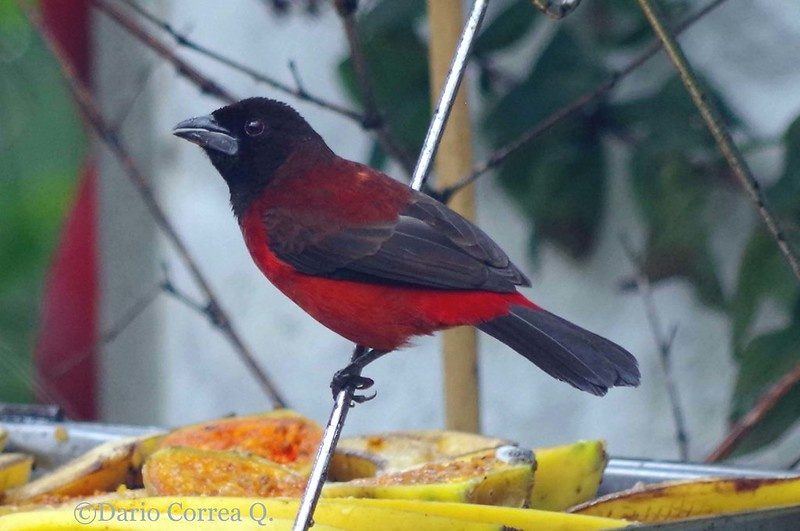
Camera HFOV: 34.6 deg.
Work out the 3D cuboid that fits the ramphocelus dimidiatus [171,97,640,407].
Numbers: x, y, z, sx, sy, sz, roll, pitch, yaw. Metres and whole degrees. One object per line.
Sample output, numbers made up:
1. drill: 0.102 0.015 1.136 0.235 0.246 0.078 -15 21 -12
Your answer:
1. ramphocelus dimidiatus: 0.000 -0.028 2.844 1.071 0.626 0.368 5 11 23
